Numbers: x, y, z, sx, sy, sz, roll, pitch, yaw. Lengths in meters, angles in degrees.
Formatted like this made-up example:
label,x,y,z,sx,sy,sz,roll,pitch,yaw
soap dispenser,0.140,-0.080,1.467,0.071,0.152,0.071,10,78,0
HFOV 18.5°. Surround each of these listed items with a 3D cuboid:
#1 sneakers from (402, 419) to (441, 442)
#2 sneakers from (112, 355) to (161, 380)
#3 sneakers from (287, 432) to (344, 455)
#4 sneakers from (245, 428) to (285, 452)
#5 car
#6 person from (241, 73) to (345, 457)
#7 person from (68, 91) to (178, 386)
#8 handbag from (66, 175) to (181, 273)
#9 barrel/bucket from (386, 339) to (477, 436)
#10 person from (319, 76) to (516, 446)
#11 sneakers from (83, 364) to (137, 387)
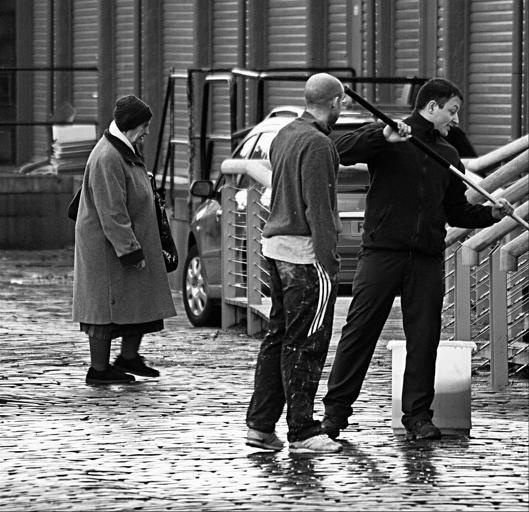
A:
label,x,y,z,sx,sy,sz,roll,pitch,yaw
sneakers,0.867,0.954,8.908,0.088,0.089,0.227,2,-14,-34
sneakers,-0.847,0.731,11.056,0.350,0.134,0.132,16,-1,2
sneakers,0.282,1.005,8.699,0.290,0.113,0.105,0,-3,7
sneakers,0.008,0.991,8.761,0.241,0.099,0.085,13,3,-26
car,0.354,-0.357,13.946,1.669,1.283,2.648,-2,7,-20
person,0.165,0.043,8.654,0.511,2.016,0.360,1,5,17
person,-0.946,-0.119,10.968,0.611,1.921,0.515,-5,7,-43
handbag,-0.990,-0.195,11.302,0.924,0.423,0.518,1,1,26
barrel/bucket,0.807,0.752,9.213,0.573,0.516,0.463,3,-6,-34
person,0.790,0.019,8.936,0.939,1.989,0.596,0,5,-2
sneakers,-1.020,0.814,10.936,0.359,0.131,0.124,1,-1,-13
